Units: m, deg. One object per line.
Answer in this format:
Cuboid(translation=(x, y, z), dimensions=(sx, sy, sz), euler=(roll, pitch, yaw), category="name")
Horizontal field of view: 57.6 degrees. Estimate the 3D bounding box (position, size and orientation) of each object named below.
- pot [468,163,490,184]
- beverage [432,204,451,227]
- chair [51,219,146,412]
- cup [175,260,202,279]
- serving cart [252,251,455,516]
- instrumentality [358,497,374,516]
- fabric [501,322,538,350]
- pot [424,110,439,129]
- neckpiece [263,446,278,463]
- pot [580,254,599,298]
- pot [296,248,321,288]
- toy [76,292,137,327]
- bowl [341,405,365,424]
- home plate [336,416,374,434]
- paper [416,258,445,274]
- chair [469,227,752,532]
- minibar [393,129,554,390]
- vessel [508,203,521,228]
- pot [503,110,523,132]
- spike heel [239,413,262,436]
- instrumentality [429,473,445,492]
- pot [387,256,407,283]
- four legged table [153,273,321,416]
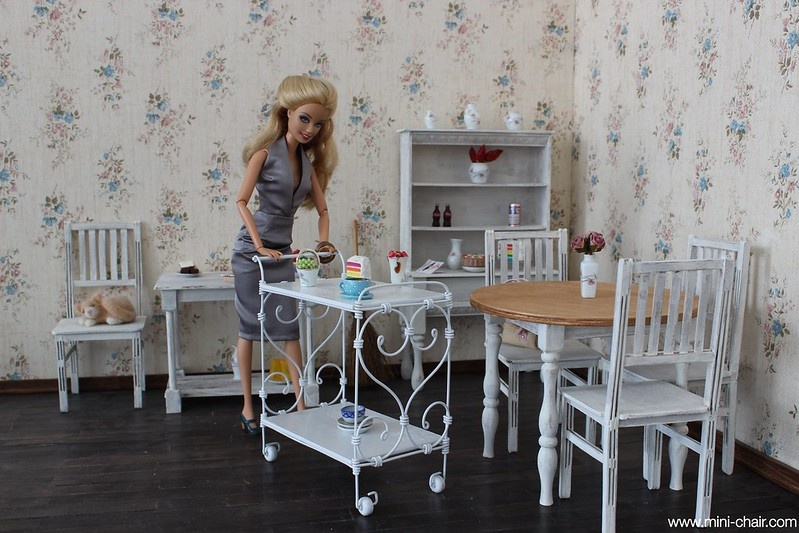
Cuboid(translation=(0.644, -0.748, 5.823), dimensions=(0.155, 0.156, 0.160), euler=(-1, 8, 0), category="pot")
Cuboid(translation=(0.346, -0.411, 5.888), dimensions=(0.179, 0.235, 0.086), euler=(0, 0, -7), category="beverage")
Cuboid(translation=(-2.248, 0.347, 5.443), dimensions=(0.683, 1.362, 0.583), euler=(-2, 4, -19), category="chair")
Cuboid(translation=(-1.601, 0.017, 5.556), dimensions=(0.139, 0.071, 0.138), euler=(2, 6, 0), category="cup")
Cuboid(translation=(-0.315, 0.781, 4.739), dimensions=(0.787, 1.486, 1.332), euler=(-4, 6, -30), category="serving cart")
Cuboid(translation=(-0.182, 1.343, 4.085), dimensions=(0.093, 0.108, 0.067), euler=(-1, 3, -5), category="instrumentality")
Cuboid(translation=(0.781, 0.458, 4.727), dimensions=(0.060, 0.176, 0.201), euler=(-7, 17, -39), category="fabric")
Cuboid(translation=(0.243, -1.171, 5.771), dimensions=(0.131, 0.173, 0.139), euler=(-3, 10, 1), category="pot")
Cuboid(translation=(-0.795, 1.161, 4.537), dimensions=(0.077, 0.109, 0.096), euler=(-1, 4, -42), category="neckpiece")
Cuboid(translation=(1.177, 0.076, 4.382), dimensions=(0.135, 0.257, 0.142), euler=(6, -19, 2), category="pot")
Cuboid(translation=(-0.556, 0.009, 4.478), dimensions=(0.133, 0.216, 0.202), euler=(-1, 3, -6), category="pot")
Cuboid(translation=(-2.183, 0.314, 5.487), dimensions=(0.324, 0.225, 0.449), euler=(-2, 9, 21), category="toy")
Cuboid(translation=(-0.273, 0.890, 4.389), dimensions=(0.135, 0.068, 0.144), euler=(0, 0, 0), category="bowl")
Cuboid(translation=(-0.252, 0.935, 4.316), dimensions=(0.219, 0.114, 0.320), euler=(-1, 3, -5), category="home plate")
Cuboid(translation=(0.247, 0.000, 5.814), dimensions=(0.257, 0.022, 0.291), euler=(-22, 7, -31), category="paper")
Cuboid(translation=(1.474, 0.640, 4.229), dimensions=(0.894, 1.558, 1.171), euler=(2, 4, 40), category="chair")
Cuboid(translation=(0.725, -0.400, 6.076), dimensions=(1.117, 1.858, 0.470), euler=(-7, 32, 8), category="minibar")
Cuboid(translation=(0.950, -0.422, 5.952), dimensions=(0.094, 0.185, 0.237), euler=(0, 3, 10), category="vessel")
Cuboid(translation=(0.918, -1.168, 5.876), dimensions=(0.122, 0.160, 0.200), euler=(-1, 3, -6), category="pot")
Cuboid(translation=(-1.001, 1.088, 4.953), dimensions=(0.074, 0.101, 0.203), euler=(2, -2, -33), category="spike heel")
Cuboid(translation=(0.228, 1.270, 4.292), dimensions=(0.102, 0.109, 0.110), euler=(0, 3, 3), category="instrumentality")
Cuboid(translation=(-0.008, 0.026, 4.450), dimensions=(0.131, 0.200, 0.141), euler=(0, 1, 0), category="pot")
Cuboid(translation=(-1.202, 0.481, 5.743), dimensions=(1.400, 1.294, 0.935), euler=(-1, 3, -11), category="four legged table")
